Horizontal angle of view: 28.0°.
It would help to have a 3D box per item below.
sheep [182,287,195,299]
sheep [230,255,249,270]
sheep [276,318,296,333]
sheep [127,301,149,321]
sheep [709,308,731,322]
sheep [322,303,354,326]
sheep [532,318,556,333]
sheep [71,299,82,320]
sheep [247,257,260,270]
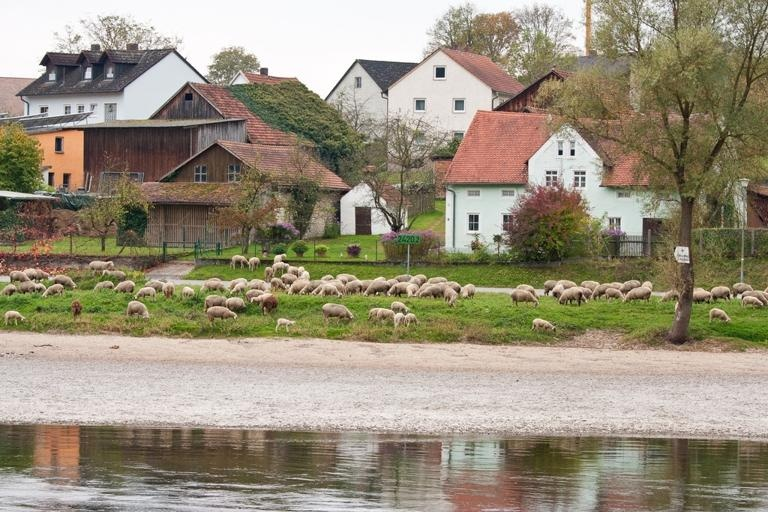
[{"bbox_3d":[-9.922,1.825,78.104,0.513,0.592,1.051,2,-5,-21],"label":"sheep"},{"bbox_3d":[-8.427,0.340,89.979,0.969,0.703,0.937,1,-5,-8],"label":"sheep"},{"bbox_3d":[-4.781,3.334,74.293,0.961,0.676,0.839,1,-5,-7],"label":"sheep"},{"bbox_3d":[-12.093,2.644,75.299,1.132,0.841,0.796,0,-4,-2],"label":"sheep"},{"bbox_3d":[16.391,2.932,75.073,1.257,0.862,0.471,3,19,7],"label":"sheep"},{"bbox_3d":[-2.327,2.826,74.986,1.722,1.237,0.685,2,18,-1],"label":"sheep"},{"bbox_3d":[7.776,3.359,74.432,1.123,0.622,0.588,-1,-4,6],"label":"sheep"},{"bbox_3d":[-15.128,2.632,75.526,0.516,0.895,1.016,1,-5,-13],"label":"sheep"},{"bbox_3d":[-7.565,0.445,89.390,0.664,0.776,1.501,0,-5,-6],"label":"sheep"}]
